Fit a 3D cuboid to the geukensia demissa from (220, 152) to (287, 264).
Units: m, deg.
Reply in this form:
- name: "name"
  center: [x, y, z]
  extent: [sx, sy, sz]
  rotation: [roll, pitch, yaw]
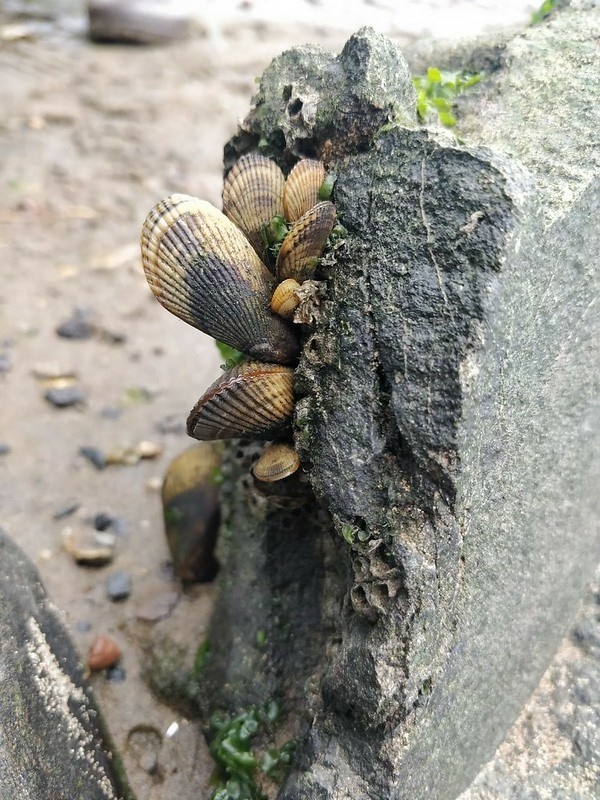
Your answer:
- name: "geukensia demissa"
  center: [-0.193, -0.862, 4.994]
  extent: [0.339, 0.456, 0.124]
  rotation: [-14, 8, 15]

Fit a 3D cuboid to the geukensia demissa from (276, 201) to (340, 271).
- name: "geukensia demissa"
  center: [0.061, -0.675, 4.814]
  extent: [0.291, 0.361, 0.111]
  rotation: [-16, 47, -27]

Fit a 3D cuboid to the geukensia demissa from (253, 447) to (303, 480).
- name: "geukensia demissa"
  center: [-0.091, 0.328, 4.959]
  extent: [0.183, 0.060, 0.171]
  rotation: [16, 53, 40]

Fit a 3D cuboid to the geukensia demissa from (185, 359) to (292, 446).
- name: "geukensia demissa"
  center: [-0.260, 0.017, 4.904]
  extent: [0.468, 0.389, 0.257]
  rotation: [3, 39, -6]
